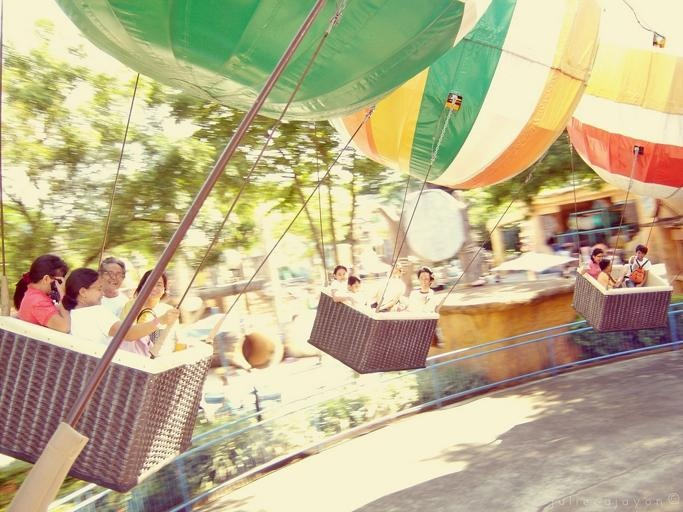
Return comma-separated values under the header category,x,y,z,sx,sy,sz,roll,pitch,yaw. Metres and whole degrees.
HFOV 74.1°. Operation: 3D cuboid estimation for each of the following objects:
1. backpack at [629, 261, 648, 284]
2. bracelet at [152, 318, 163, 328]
category,x,y,z,sx,sy,sz,roll,pitch,yaw
backpack,4.370,0.246,6.664,0.251,0.304,0.131,20,2,13
bracelet,-1.015,0.370,2.520,0.017,0.052,0.055,2,40,47
